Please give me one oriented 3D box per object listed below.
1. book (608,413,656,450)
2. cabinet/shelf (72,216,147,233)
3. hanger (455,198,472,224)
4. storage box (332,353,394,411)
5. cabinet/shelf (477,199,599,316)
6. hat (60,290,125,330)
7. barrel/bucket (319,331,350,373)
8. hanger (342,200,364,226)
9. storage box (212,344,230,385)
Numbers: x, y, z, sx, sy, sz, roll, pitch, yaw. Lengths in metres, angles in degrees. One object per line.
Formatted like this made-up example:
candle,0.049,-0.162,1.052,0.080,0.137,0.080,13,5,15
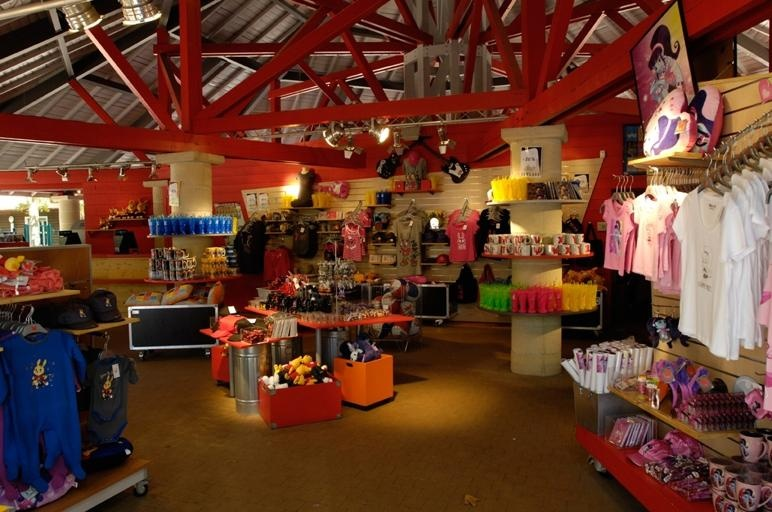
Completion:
book,2.337,1.669,4.911,0.367,0.094,0.252,-4,-2,-25
cabinet/shelf,-8.014,-0.906,15.171,2.464,0.415,0.396,2,9,17
hanger,1.699,-1.016,11.311,0.252,0.485,0.662,1,8,9
storage box,-0.254,1.620,6.874,0.698,0.596,0.709,-3,-2,44
cabinet/shelf,2.435,0.056,8.468,1.935,1.458,1.674,-1,1,-12
hat,-2.871,0.531,5.033,0.459,0.180,0.337,1,5,36
barrel/bucket,-0.688,1.281,7.034,0.530,0.679,0.477,0,-1,1
hanger,-0.744,-1.035,12.265,0.463,0.567,0.226,5,-4,28
storage box,-2.402,1.563,7.570,0.365,0.533,0.155,4,10,29
